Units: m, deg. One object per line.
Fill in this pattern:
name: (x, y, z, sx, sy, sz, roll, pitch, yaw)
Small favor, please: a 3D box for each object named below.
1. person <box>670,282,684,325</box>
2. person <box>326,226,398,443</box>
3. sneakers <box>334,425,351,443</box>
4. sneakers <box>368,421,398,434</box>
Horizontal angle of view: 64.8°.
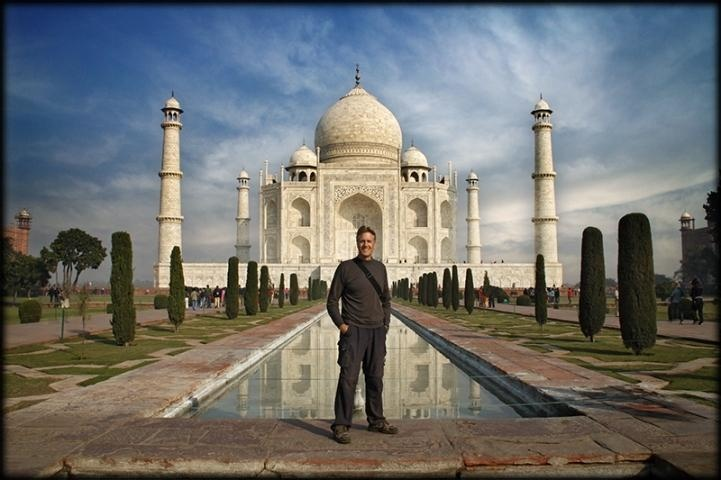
person: (7.192, 1.429, 12.898, 0.270, 0.869, 1.107, -5, -7, 29)
person: (-0.003, 0.740, 4.825, 0.541, 1.749, 0.617, -1, -7, -2)
sneakers: (-0.148, 1.529, 4.473, 0.135, 0.115, 0.117, -1, -6, -4)
sneakers: (0.183, 1.519, 4.616, 0.236, 0.094, 0.087, -1, -2, 6)
